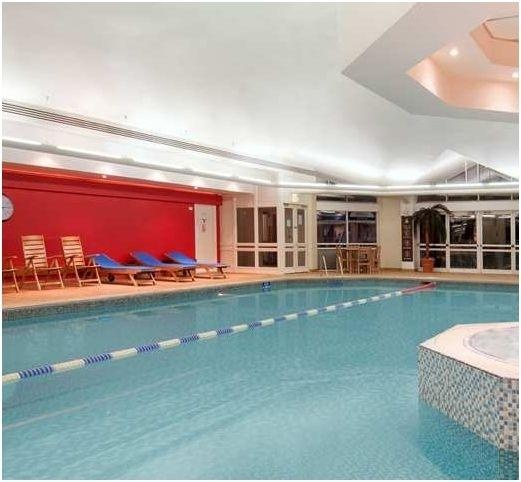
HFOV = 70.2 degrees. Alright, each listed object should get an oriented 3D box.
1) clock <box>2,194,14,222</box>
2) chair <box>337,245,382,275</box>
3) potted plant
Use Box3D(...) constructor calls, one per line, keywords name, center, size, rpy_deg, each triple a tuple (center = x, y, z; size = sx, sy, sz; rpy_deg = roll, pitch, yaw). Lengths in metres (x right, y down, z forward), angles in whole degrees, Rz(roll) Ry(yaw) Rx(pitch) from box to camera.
Box3D(name="clock", center=(-6.732, -0.873, 10.023), size=(0.235, 0.730, 0.229), rpy_deg=(1, 1, -31))
Box3D(name="chair", center=(4.053, 0.763, 15.564), size=(1.485, 1.137, 1.906), rpy_deg=(1, 0, -20))
Box3D(name="potted plant", center=(7.161, -0.118, 15.889), size=(1.196, 2.050, 1.087), rpy_deg=(1, 1, -33))
